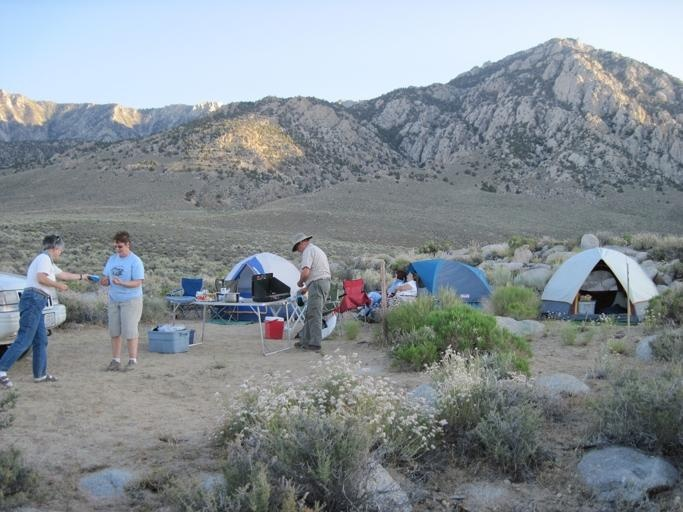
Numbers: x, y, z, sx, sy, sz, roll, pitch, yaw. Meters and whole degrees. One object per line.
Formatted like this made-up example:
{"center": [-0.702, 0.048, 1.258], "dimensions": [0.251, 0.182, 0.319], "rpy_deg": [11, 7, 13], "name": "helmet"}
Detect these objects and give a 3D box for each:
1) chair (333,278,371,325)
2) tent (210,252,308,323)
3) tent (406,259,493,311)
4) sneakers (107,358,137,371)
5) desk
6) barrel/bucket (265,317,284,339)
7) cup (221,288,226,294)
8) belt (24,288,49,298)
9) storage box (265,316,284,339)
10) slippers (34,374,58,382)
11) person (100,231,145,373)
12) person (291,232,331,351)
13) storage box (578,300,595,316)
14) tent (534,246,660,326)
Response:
{"center": [0.258, 0.875, 14.668], "dimensions": [0.582, 0.768, 0.740], "rpy_deg": [-4, -7, -16], "name": "chair"}
{"center": [-1.996, 0.679, 15.460], "dimensions": [1.651, 1.391, 1.786], "rpy_deg": [-1, -2, 7], "name": "tent"}
{"center": [2.631, 0.651, 15.972], "dimensions": [1.830, 1.141, 1.180], "rpy_deg": [1, 0, 14], "name": "tent"}
{"center": [-3.685, 1.806, 11.211], "dimensions": [0.431, 0.229, 0.197], "rpy_deg": [4, -5, -7], "name": "sneakers"}
{"center": [-2.169, 1.335, 14.677], "dimensions": [2.052, 1.069, 5.222], "rpy_deg": [1, -1, -12], "name": "desk"}
{"center": [-1.407, 1.473, 13.915], "dimensions": [0.429, 0.502, 0.369], "rpy_deg": [0, -4, -12], "name": "barrel/bucket"}
{"center": [-2.321, 0.698, 13.133], "dimensions": [0.111, 0.127, 0.084], "rpy_deg": [2, 6, 16], "name": "cup"}
{"center": [-4.612, 0.593, 10.077], "dimensions": [0.192, 0.082, 0.187], "rpy_deg": [8, -10, -10], "name": "belt"}
{"center": [-1.397, 1.474, 13.908], "dimensions": [0.428, 0.509, 0.377], "rpy_deg": [0, -3, -16], "name": "storage box"}
{"center": [-4.604, 1.923, 10.418], "dimensions": [0.310, 0.153, 0.122], "rpy_deg": [-2, 4, -21], "name": "slippers"}
{"center": [-3.640, 0.752, 11.082], "dimensions": [0.633, 2.164, 0.737], "rpy_deg": [1, 0, -20], "name": "person"}
{"center": [-0.577, 0.700, 12.711], "dimensions": [0.658, 2.159, 0.673], "rpy_deg": [1, 0, 6], "name": "person"}
{"center": [5.607, 1.205, 15.238], "dimensions": [0.312, 0.358, 0.300], "rpy_deg": [0, 2, 1], "name": "storage box"}
{"center": [5.897, 0.740, 15.701], "dimensions": [2.110, 1.314, 1.849], "rpy_deg": [-1, -3, 9], "name": "tent"}
